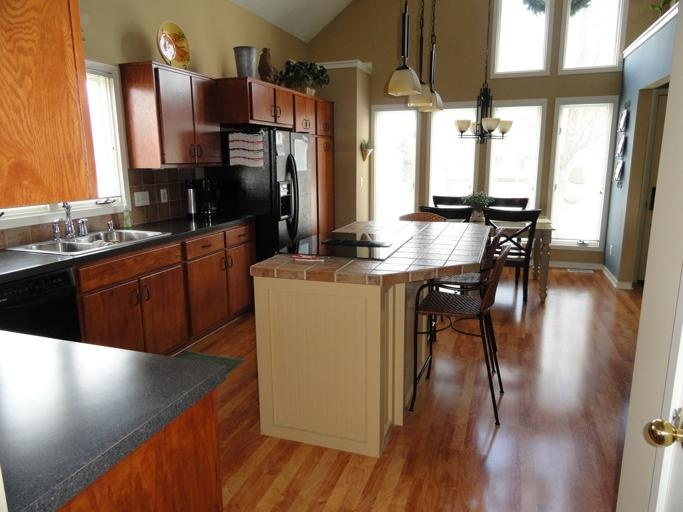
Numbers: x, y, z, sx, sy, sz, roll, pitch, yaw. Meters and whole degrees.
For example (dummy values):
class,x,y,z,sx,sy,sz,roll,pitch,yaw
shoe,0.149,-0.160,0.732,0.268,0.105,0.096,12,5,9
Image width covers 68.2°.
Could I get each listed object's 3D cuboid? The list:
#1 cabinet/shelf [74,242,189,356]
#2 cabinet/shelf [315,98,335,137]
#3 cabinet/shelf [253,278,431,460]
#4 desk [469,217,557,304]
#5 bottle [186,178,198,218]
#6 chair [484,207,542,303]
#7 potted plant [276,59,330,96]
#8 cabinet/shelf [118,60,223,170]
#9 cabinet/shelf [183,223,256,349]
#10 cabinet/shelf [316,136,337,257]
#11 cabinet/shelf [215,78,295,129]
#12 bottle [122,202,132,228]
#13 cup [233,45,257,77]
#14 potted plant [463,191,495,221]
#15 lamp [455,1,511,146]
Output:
class,x,y,z,sx,sy,sz,roll,pitch,yaw
cabinet/shelf,-1.482,0.293,3.576,0.269,0.795,0.826,23,30,34
cabinet/shelf,-0.280,-1.663,6.136,0.166,0.425,0.443,0,11,21
cabinet/shelf,0.069,0.502,3.197,0.794,1.159,1.158,3,12,16
desk,1.890,-0.085,5.537,0.698,0.967,0.724,7,28,44
bottle,-1.346,-0.521,4.521,0.093,0.330,0.221,-4,13,-16
chair,1.703,-0.090,5.259,0.521,0.960,0.581,2,20,13
potted plant,-0.509,-2.099,5.882,0.685,0.376,0.710,6,22,13
cabinet/shelf,-1.369,-1.129,4.214,0.334,0.768,0.864,4,13,17
cabinet/shelf,-0.888,0.201,4.404,0.873,0.834,0.433,-19,-21,30
cabinet/shelf,-0.136,-0.793,6.494,0.182,1.285,0.446,-2,-5,-4
cabinet/shelf,-0.771,-1.477,4.934,0.286,0.401,1.078,2,12,18
bottle,-1.713,-0.331,4.019,0.063,0.175,0.188,-4,13,-18
cup,-0.900,-1.807,4.722,0.222,0.263,0.223,1,16,0
potted plant,1.469,-0.565,5.394,0.275,0.333,0.299,1,11,13
lamp,1.652,-2.163,5.723,0.641,1.718,1.686,4,13,15
